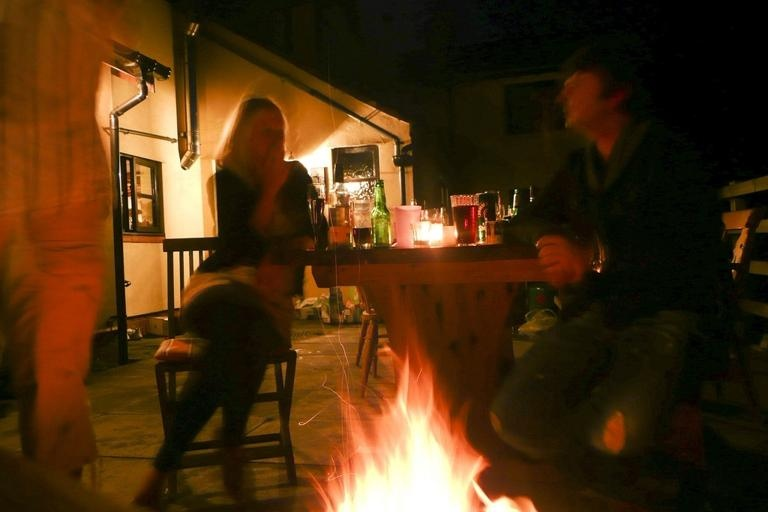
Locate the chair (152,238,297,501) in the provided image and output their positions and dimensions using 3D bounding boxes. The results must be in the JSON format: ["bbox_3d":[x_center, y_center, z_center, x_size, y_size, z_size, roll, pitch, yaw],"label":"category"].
[{"bbox_3d":[-0.848,0.487,3.673,0.905,1.355,0.819,2,7,-13],"label":"chair"}]

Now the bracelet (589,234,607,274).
[{"bbox_3d":[1.054,-0.006,3.097,0.068,0.176,0.132,3,5,2],"label":"bracelet"}]

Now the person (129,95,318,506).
[{"bbox_3d":[-0.764,0.199,3.207,0.809,2.081,0.383,-1,1,-7],"label":"person"}]

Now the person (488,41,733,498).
[{"bbox_3d":[1.094,0.015,2.998,0.998,2.075,0.629,-1,1,18],"label":"person"}]

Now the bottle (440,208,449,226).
[{"bbox_3d":[0.326,-0.215,3.360,0.047,0.098,0.167,-1,0,5],"label":"bottle"}]

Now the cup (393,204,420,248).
[{"bbox_3d":[0.125,-0.158,3.295,0.140,0.211,0.298,-1,0,3],"label":"cup"}]

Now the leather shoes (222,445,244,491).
[{"bbox_3d":[-0.754,1.074,3.193,0.116,0.216,0.051,2,1,-28],"label":"leather shoes"}]

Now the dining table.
[{"bbox_3d":[0.414,0.465,3.340,1.299,0.886,1.325,4,-9,-32],"label":"dining table"}]
